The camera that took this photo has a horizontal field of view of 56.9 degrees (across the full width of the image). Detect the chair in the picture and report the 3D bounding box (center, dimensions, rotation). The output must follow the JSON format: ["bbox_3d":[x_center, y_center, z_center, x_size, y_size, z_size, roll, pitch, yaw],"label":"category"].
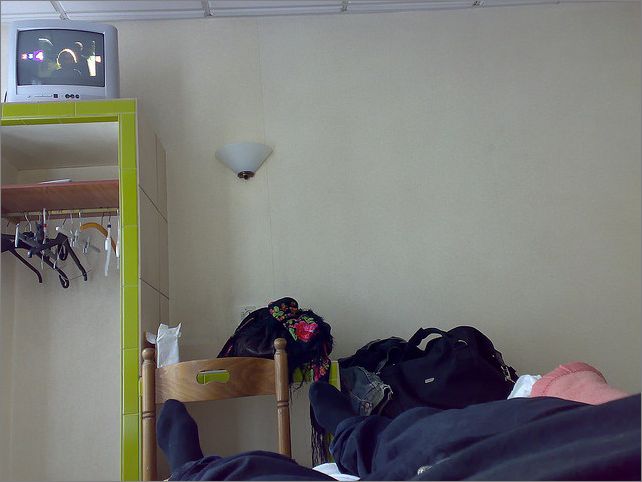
[{"bbox_3d":[-0.490,0.684,2.869,0.731,0.634,0.571,-2,-29,-6],"label":"chair"}]

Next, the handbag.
[{"bbox_3d":[0.612,0.623,2.980,0.535,0.559,0.379,-5,-15,-4],"label":"handbag"}]

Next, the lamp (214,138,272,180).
[{"bbox_3d":[-0.446,-0.481,3.426,0.230,0.103,0.233,8,-19,-33],"label":"lamp"}]

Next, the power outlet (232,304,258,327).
[{"bbox_3d":[-0.414,0.407,3.205,0.111,0.121,0.012,-2,-18,5],"label":"power outlet"}]
